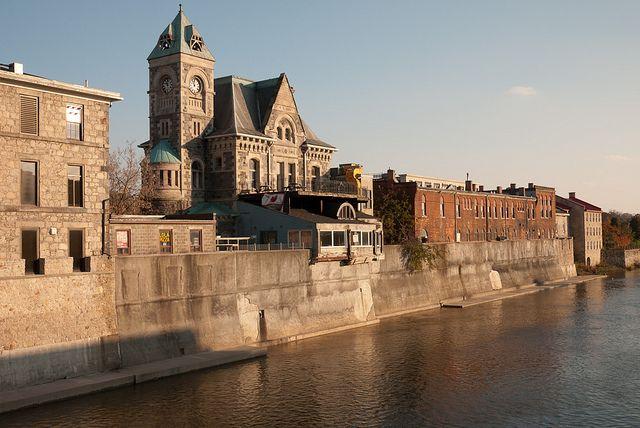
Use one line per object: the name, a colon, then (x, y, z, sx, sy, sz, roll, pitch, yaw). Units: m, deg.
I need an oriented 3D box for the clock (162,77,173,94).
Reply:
clock: (-16.533, -13.883, 69.642, 1.498, 1.633, 0.286, 5, 7, 38)

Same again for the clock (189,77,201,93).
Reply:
clock: (-13.612, -13.959, 69.884, 0.097, 1.736, 1.759, -3, -6, 36)
